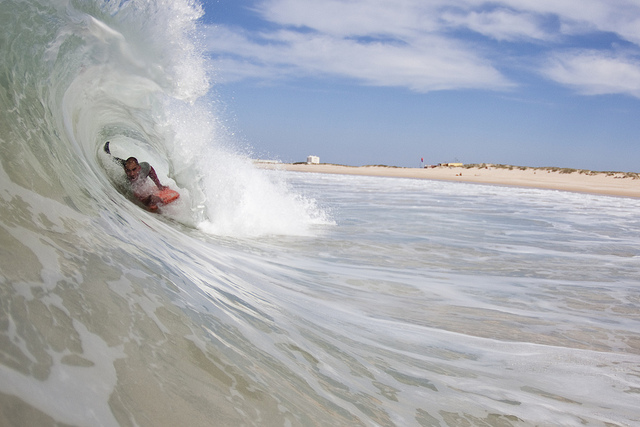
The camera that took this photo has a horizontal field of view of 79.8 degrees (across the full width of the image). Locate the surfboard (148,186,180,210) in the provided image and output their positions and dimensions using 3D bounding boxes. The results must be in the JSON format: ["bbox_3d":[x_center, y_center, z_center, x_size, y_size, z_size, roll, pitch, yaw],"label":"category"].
[{"bbox_3d":[-3.248,-0.355,7.825,0.370,0.391,0.931,5,13,-3],"label":"surfboard"}]

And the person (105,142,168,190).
[{"bbox_3d":[-3.760,-0.867,7.672,1.179,0.747,0.962,2,15,-11],"label":"person"}]
